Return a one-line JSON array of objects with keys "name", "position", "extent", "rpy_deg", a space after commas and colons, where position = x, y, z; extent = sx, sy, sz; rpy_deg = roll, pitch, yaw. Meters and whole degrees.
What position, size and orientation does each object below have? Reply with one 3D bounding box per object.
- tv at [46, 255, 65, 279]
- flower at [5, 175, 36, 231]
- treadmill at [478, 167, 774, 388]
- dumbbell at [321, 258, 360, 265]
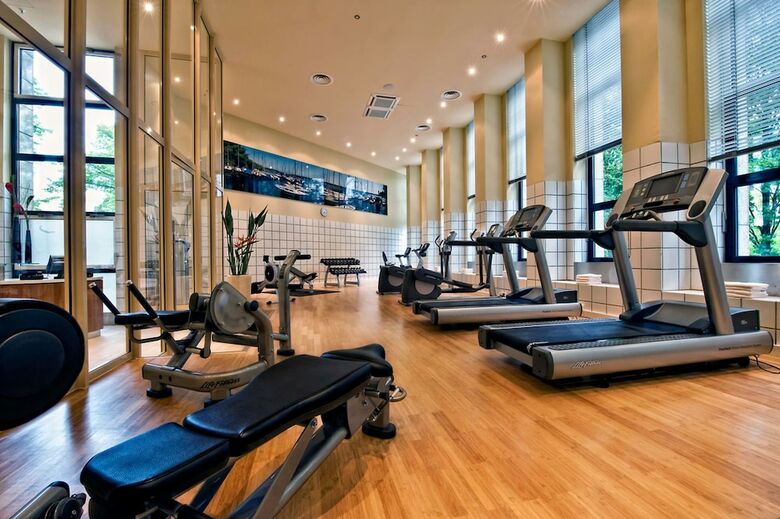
[{"name": "tv", "position": [-3.004, 0.051, 4.723], "extent": [0.173, 0.196, 0.105], "rpy_deg": [8, 27, -21]}, {"name": "flower", "position": [-3.226, -0.496, 4.608], "extent": [0.237, 0.412, 0.075], "rpy_deg": [-4, -1, -8]}, {"name": "treadmill", "position": [2.233, 0.109, 4.891], "extent": [2.349, 2.067, 0.961], "rpy_deg": [-3, -1, -10]}, {"name": "dumbbell", "position": [-1.203, 0.041, 12.263], "extent": [0.291, 0.136, 1.243], "rpy_deg": [-5, -3, 26]}]
